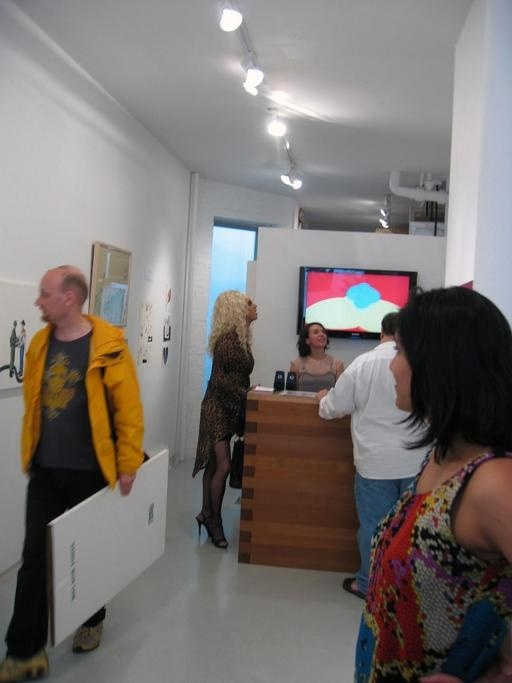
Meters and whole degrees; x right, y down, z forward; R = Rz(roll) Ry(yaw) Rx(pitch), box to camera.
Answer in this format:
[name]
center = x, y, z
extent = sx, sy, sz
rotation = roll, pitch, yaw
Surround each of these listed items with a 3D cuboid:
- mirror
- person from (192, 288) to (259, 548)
[mirror]
center = -1.111, -0.442, 3.605
extent = 0.028, 0.603, 0.755
rotation = 0, 11, -37
[person]
center = -0.239, 0.526, 3.349
extent = 0.362, 1.822, 0.262
rotation = 3, -2, -4
